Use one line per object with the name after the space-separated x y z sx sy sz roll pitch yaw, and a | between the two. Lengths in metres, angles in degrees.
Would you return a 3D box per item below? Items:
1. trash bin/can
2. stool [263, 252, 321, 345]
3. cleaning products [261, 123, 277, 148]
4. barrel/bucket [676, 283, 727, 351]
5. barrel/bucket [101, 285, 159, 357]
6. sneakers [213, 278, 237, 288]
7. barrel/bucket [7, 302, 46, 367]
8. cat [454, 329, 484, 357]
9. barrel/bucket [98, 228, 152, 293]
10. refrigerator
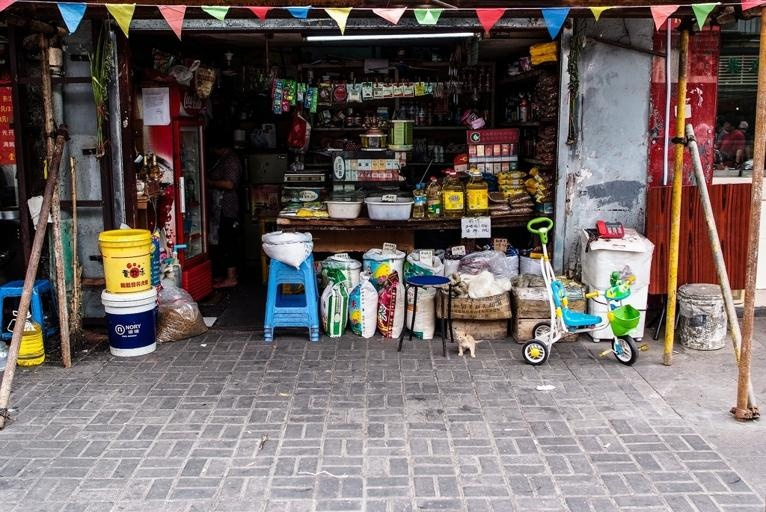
2.503 0.339 7.138 0.742 1.267 0.814 -2 -5 3 | trash bin/can
-1.034 0.483 7.441 0.707 0.970 0.635 0 4 1 | stool
-1.937 -2.041 10.672 0.222 0.449 0.305 -3 8 -11 | cleaning products
3.566 0.702 7.051 0.493 0.684 0.304 0 8 12 | barrel/bucket
-2.725 0.728 6.826 0.535 0.716 0.214 -4 9 -21 | barrel/bucket
-2.319 0.405 9.229 0.306 0.126 0.255 -2 7 -4 | sneakers
-3.836 0.905 6.676 0.381 0.559 0.371 -6 1 0 | barrel/bucket
0.926 0.948 6.944 0.284 0.248 0.449 0 7 8 | cat
-2.807 0.069 6.938 0.609 0.609 0.614 -1 5 0 | barrel/bucket
-2.733 -0.782 8.182 0.675 2.765 1.119 -1 8 0 | refrigerator
